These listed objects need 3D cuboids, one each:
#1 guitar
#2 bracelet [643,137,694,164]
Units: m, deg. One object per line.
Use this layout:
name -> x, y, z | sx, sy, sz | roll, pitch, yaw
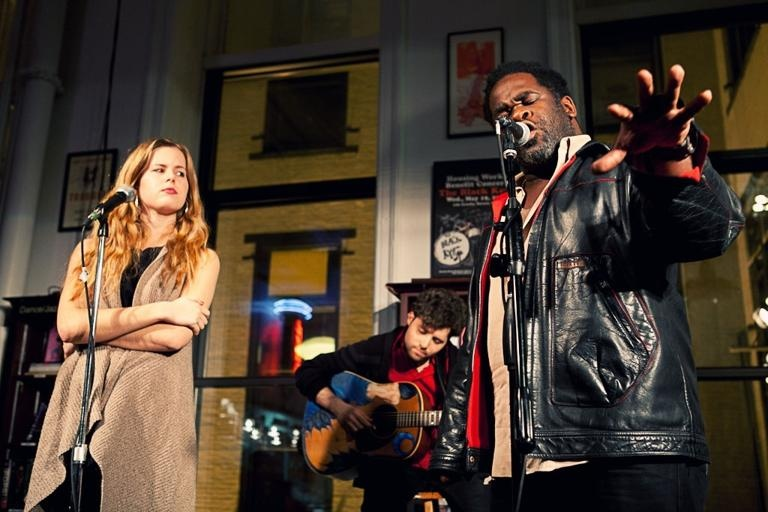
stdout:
guitar -> 0.158, 1.074, 6.065 | 1.356, 0.737, 0.207 | 3, 11, -6
bracelet -> 1.237, -0.457, 3.912 | 0.215, 0.088, 0.072 | -4, -11, 12
